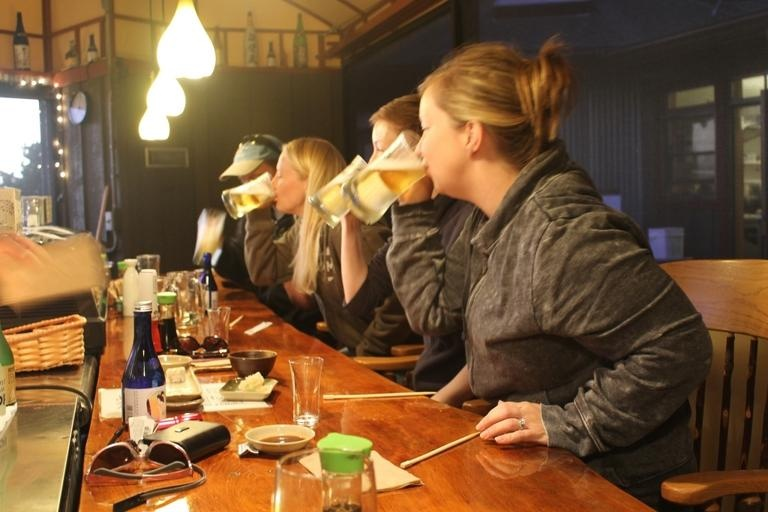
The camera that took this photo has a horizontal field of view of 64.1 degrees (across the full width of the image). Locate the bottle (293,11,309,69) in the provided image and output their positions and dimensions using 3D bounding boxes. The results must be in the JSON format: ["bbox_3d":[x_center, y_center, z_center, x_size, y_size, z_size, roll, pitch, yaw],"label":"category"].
[{"bbox_3d":[-0.888,-2.177,6.236,0.165,0.496,0.135,1,4,16],"label":"bottle"}]

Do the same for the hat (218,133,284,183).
[{"bbox_3d":[-0.937,-0.677,4.189,0.478,0.249,0.307,-18,15,-39],"label":"hat"}]

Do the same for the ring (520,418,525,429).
[{"bbox_3d":[0.357,0.443,1.610,0.016,0.021,0.009,3,-22,-13],"label":"ring"}]

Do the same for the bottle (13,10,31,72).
[{"bbox_3d":[-4.401,-2.591,7.435,0.178,0.688,0.154,-3,5,-30],"label":"bottle"}]

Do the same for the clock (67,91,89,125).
[{"bbox_3d":[-3.579,-1.724,7.155,0.415,0.388,0.032,4,2,35],"label":"clock"}]

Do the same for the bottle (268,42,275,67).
[{"bbox_3d":[-1.193,-2.112,6.392,0.085,0.240,0.044,-1,4,-10],"label":"bottle"}]

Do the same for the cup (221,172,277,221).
[{"bbox_3d":[-0.712,-0.314,3.208,0.246,0.220,0.193,0,4,1],"label":"cup"}]

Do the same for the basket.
[{"bbox_3d":[-1.131,0.289,2.051,0.229,0.104,0.152,-8,6,-27],"label":"basket"}]

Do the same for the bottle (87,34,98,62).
[{"bbox_3d":[-3.421,-2.445,7.165,0.086,0.354,0.237,-4,5,-41],"label":"bottle"}]

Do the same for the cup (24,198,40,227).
[{"bbox_3d":[-1.379,-0.169,2.391,0.053,0.117,0.101,-2,4,-29],"label":"cup"}]

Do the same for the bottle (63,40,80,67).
[{"bbox_3d":[-3.773,-2.425,7.374,0.097,0.354,0.294,-4,6,-44],"label":"bottle"}]

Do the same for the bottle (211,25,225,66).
[{"bbox_3d":[-1.715,-2.158,6.347,0.137,0.397,0.146,0,4,0],"label":"bottle"}]

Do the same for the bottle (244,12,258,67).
[{"bbox_3d":[-1.389,-2.241,6.341,0.144,0.572,0.108,0,4,-5],"label":"bottle"}]
